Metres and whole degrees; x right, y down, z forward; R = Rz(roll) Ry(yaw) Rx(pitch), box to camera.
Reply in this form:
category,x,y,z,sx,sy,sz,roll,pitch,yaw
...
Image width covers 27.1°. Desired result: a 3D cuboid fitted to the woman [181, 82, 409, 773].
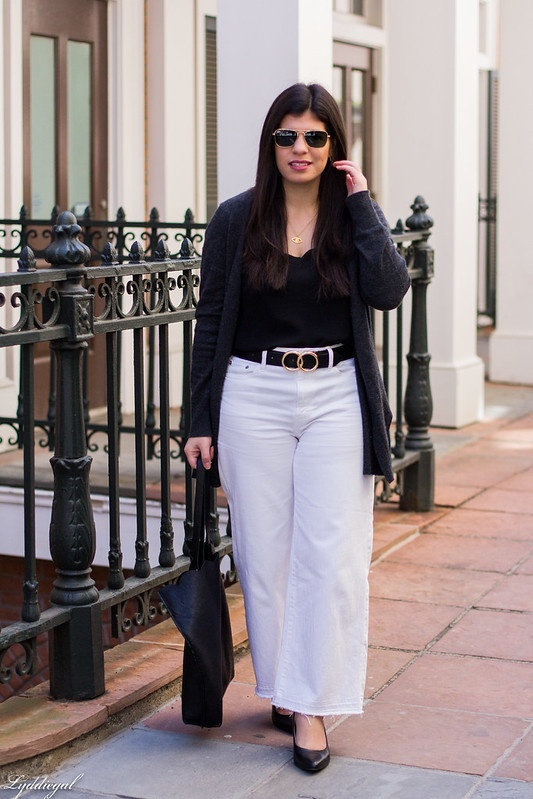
category,x,y,z,sx,sy,sz,roll,pitch,yaw
woman,0.052,0.005,2.312,0.457,1.316,0.213,2,7,8

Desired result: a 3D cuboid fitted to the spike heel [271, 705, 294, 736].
category,x,y,z,sx,sy,sz,roll,pitch,yaw
spike heel,0.031,0.717,2.501,0.030,0.042,0.097,-1,17,-18
